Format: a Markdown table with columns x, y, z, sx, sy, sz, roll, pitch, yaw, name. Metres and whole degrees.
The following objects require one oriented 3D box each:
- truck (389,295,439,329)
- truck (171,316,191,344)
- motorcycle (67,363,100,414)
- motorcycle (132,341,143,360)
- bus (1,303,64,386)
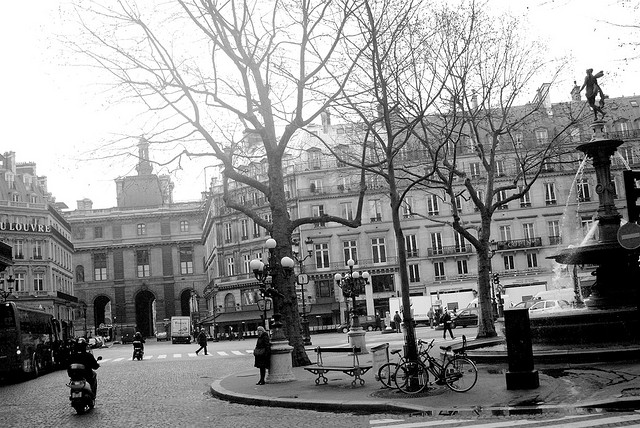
| x | y | z | sx | sy | sz | roll | pitch | yaw | name |
| --- | --- | --- | --- | --- | --- | --- | --- | --- | --- |
| 9.008 | 8.224 | 77.803 | 2.859 | 3.287 | 5.004 | -25 | -7 | -1 | truck |
| -13.933 | 11.337 | 87.218 | 1.648 | 1.565 | 2.892 | 0 | -6 | -9 | truck |
| -9.483 | 6.651 | 33.728 | 1.020 | 1.379 | 2.271 | -2 | -3 | -4 | motorcycle |
| -11.570 | 8.575 | 55.392 | 0.498 | 1.181 | 1.357 | -3 | -11 | -13 | motorcycle |
| -16.438 | 7.509 | 49.914 | 3.136 | 4.099 | 12.962 | -2 | -10 | -14 | bus |
